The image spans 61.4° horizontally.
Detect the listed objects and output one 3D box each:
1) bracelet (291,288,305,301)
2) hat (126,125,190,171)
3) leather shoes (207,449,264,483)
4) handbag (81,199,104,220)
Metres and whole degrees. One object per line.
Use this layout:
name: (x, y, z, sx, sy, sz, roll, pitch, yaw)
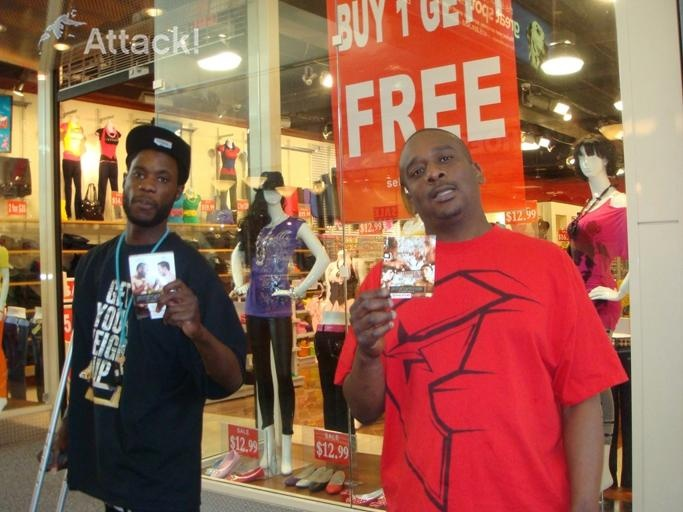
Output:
bracelet: (-0.271, 0.232, 3.499, 0.067, 0.075, 0.062, -12, -26, 35)
hat: (-0.730, -0.446, 2.328, 0.166, 0.072, 0.213, 17, -6, 10)
leather shoes: (-0.698, 1.378, 3.713, 0.192, 0.093, 0.274, -7, -8, 38)
handbag: (-2.938, -0.515, 6.749, 0.264, 0.352, 0.188, 0, -3, -36)
